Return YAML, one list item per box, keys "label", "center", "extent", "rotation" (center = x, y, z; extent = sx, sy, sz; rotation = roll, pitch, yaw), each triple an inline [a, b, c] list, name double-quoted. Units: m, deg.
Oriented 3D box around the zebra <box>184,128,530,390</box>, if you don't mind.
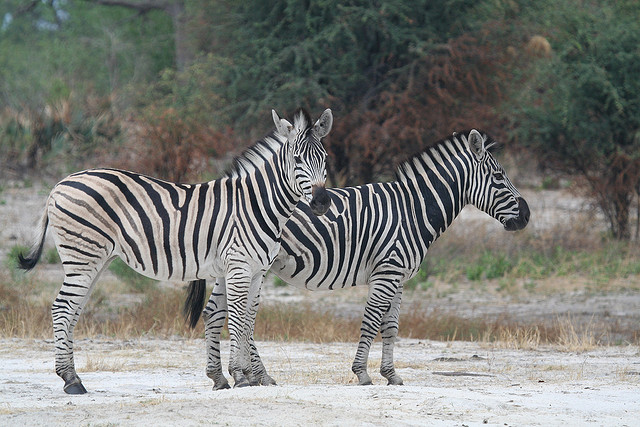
- label: "zebra"
  center: [0.787, 1.020, 27.170]
  extent: [7.225, 5.954, 2.051]
  rotation: [1, 9, -3]
